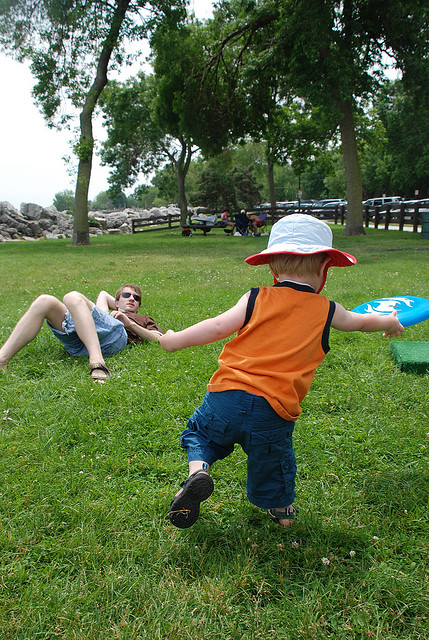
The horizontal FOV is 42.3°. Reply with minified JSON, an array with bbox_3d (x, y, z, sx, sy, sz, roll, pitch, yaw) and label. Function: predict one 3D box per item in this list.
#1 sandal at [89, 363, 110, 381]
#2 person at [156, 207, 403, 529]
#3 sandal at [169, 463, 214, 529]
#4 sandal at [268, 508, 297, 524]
[{"bbox_3d":[-0.908,0.413,4.434,0.150,0.118,0.180,-1,5,-14],"label":"sandal"},{"bbox_3d":[0.220,0.225,2.620,1.070,1.463,0.464,-3,7,-36],"label":"person"},{"bbox_3d":[-0.092,0.741,2.360,0.139,0.264,0.115,27,4,-19],"label":"sandal"},{"bbox_3d":[0.323,0.919,2.629,0.132,0.089,0.069,1,5,8],"label":"sandal"}]
